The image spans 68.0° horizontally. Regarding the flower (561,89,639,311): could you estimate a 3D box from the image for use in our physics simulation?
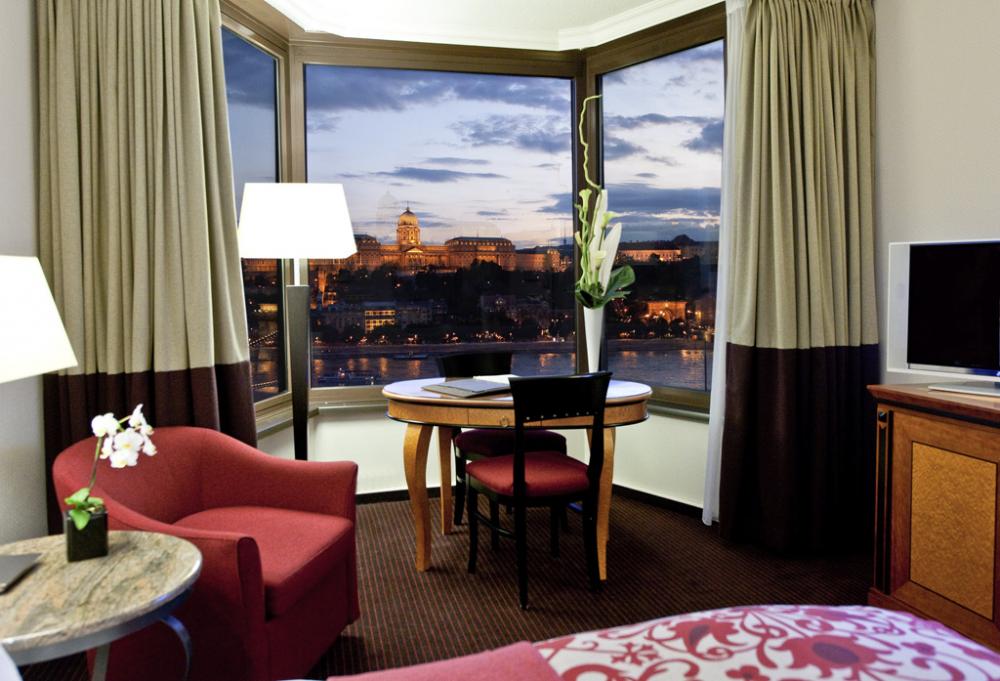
[{"bbox_3d":[0.659,-0.863,4.633,0.362,1.406,1.006,0,12,6],"label":"flower"}]

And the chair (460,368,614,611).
[{"bbox_3d":[0.174,0.727,3.773,0.665,1.091,0.743,-1,3,-8],"label":"chair"}]

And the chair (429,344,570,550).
[{"bbox_3d":[0.006,0.672,4.114,0.623,0.944,0.620,-1,3,4],"label":"chair"}]

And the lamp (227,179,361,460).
[{"bbox_3d":[-1.083,-0.041,4.017,0.546,1.602,0.857,-5,12,-18],"label":"lamp"}]

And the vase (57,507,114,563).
[{"bbox_3d":[-1.479,0.683,2.675,0.186,0.209,0.148,1,-2,-35],"label":"vase"}]

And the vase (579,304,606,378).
[{"bbox_3d":[0.556,-0.016,4.311,0.102,0.374,0.147,-3,12,-10],"label":"vase"}]

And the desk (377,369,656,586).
[{"bbox_3d":[-0.069,0.535,4.091,1.149,0.775,1.128,0,3,-6],"label":"desk"}]
